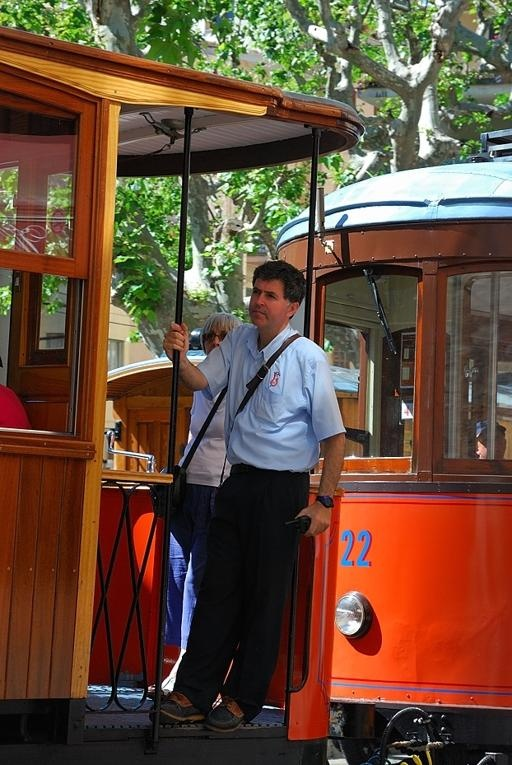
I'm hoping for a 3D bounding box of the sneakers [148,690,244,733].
[{"bbox_3d":[-0.197,1.161,3.213,0.335,0.130,0.113,20,-16,-18],"label":"sneakers"}]

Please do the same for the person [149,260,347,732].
[{"bbox_3d":[0.012,0.393,3.398,0.604,1.719,0.526,2,-3,4],"label":"person"}]

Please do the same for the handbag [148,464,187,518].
[{"bbox_3d":[-0.328,0.407,3.437,0.189,0.176,0.133,3,-4,6],"label":"handbag"}]
